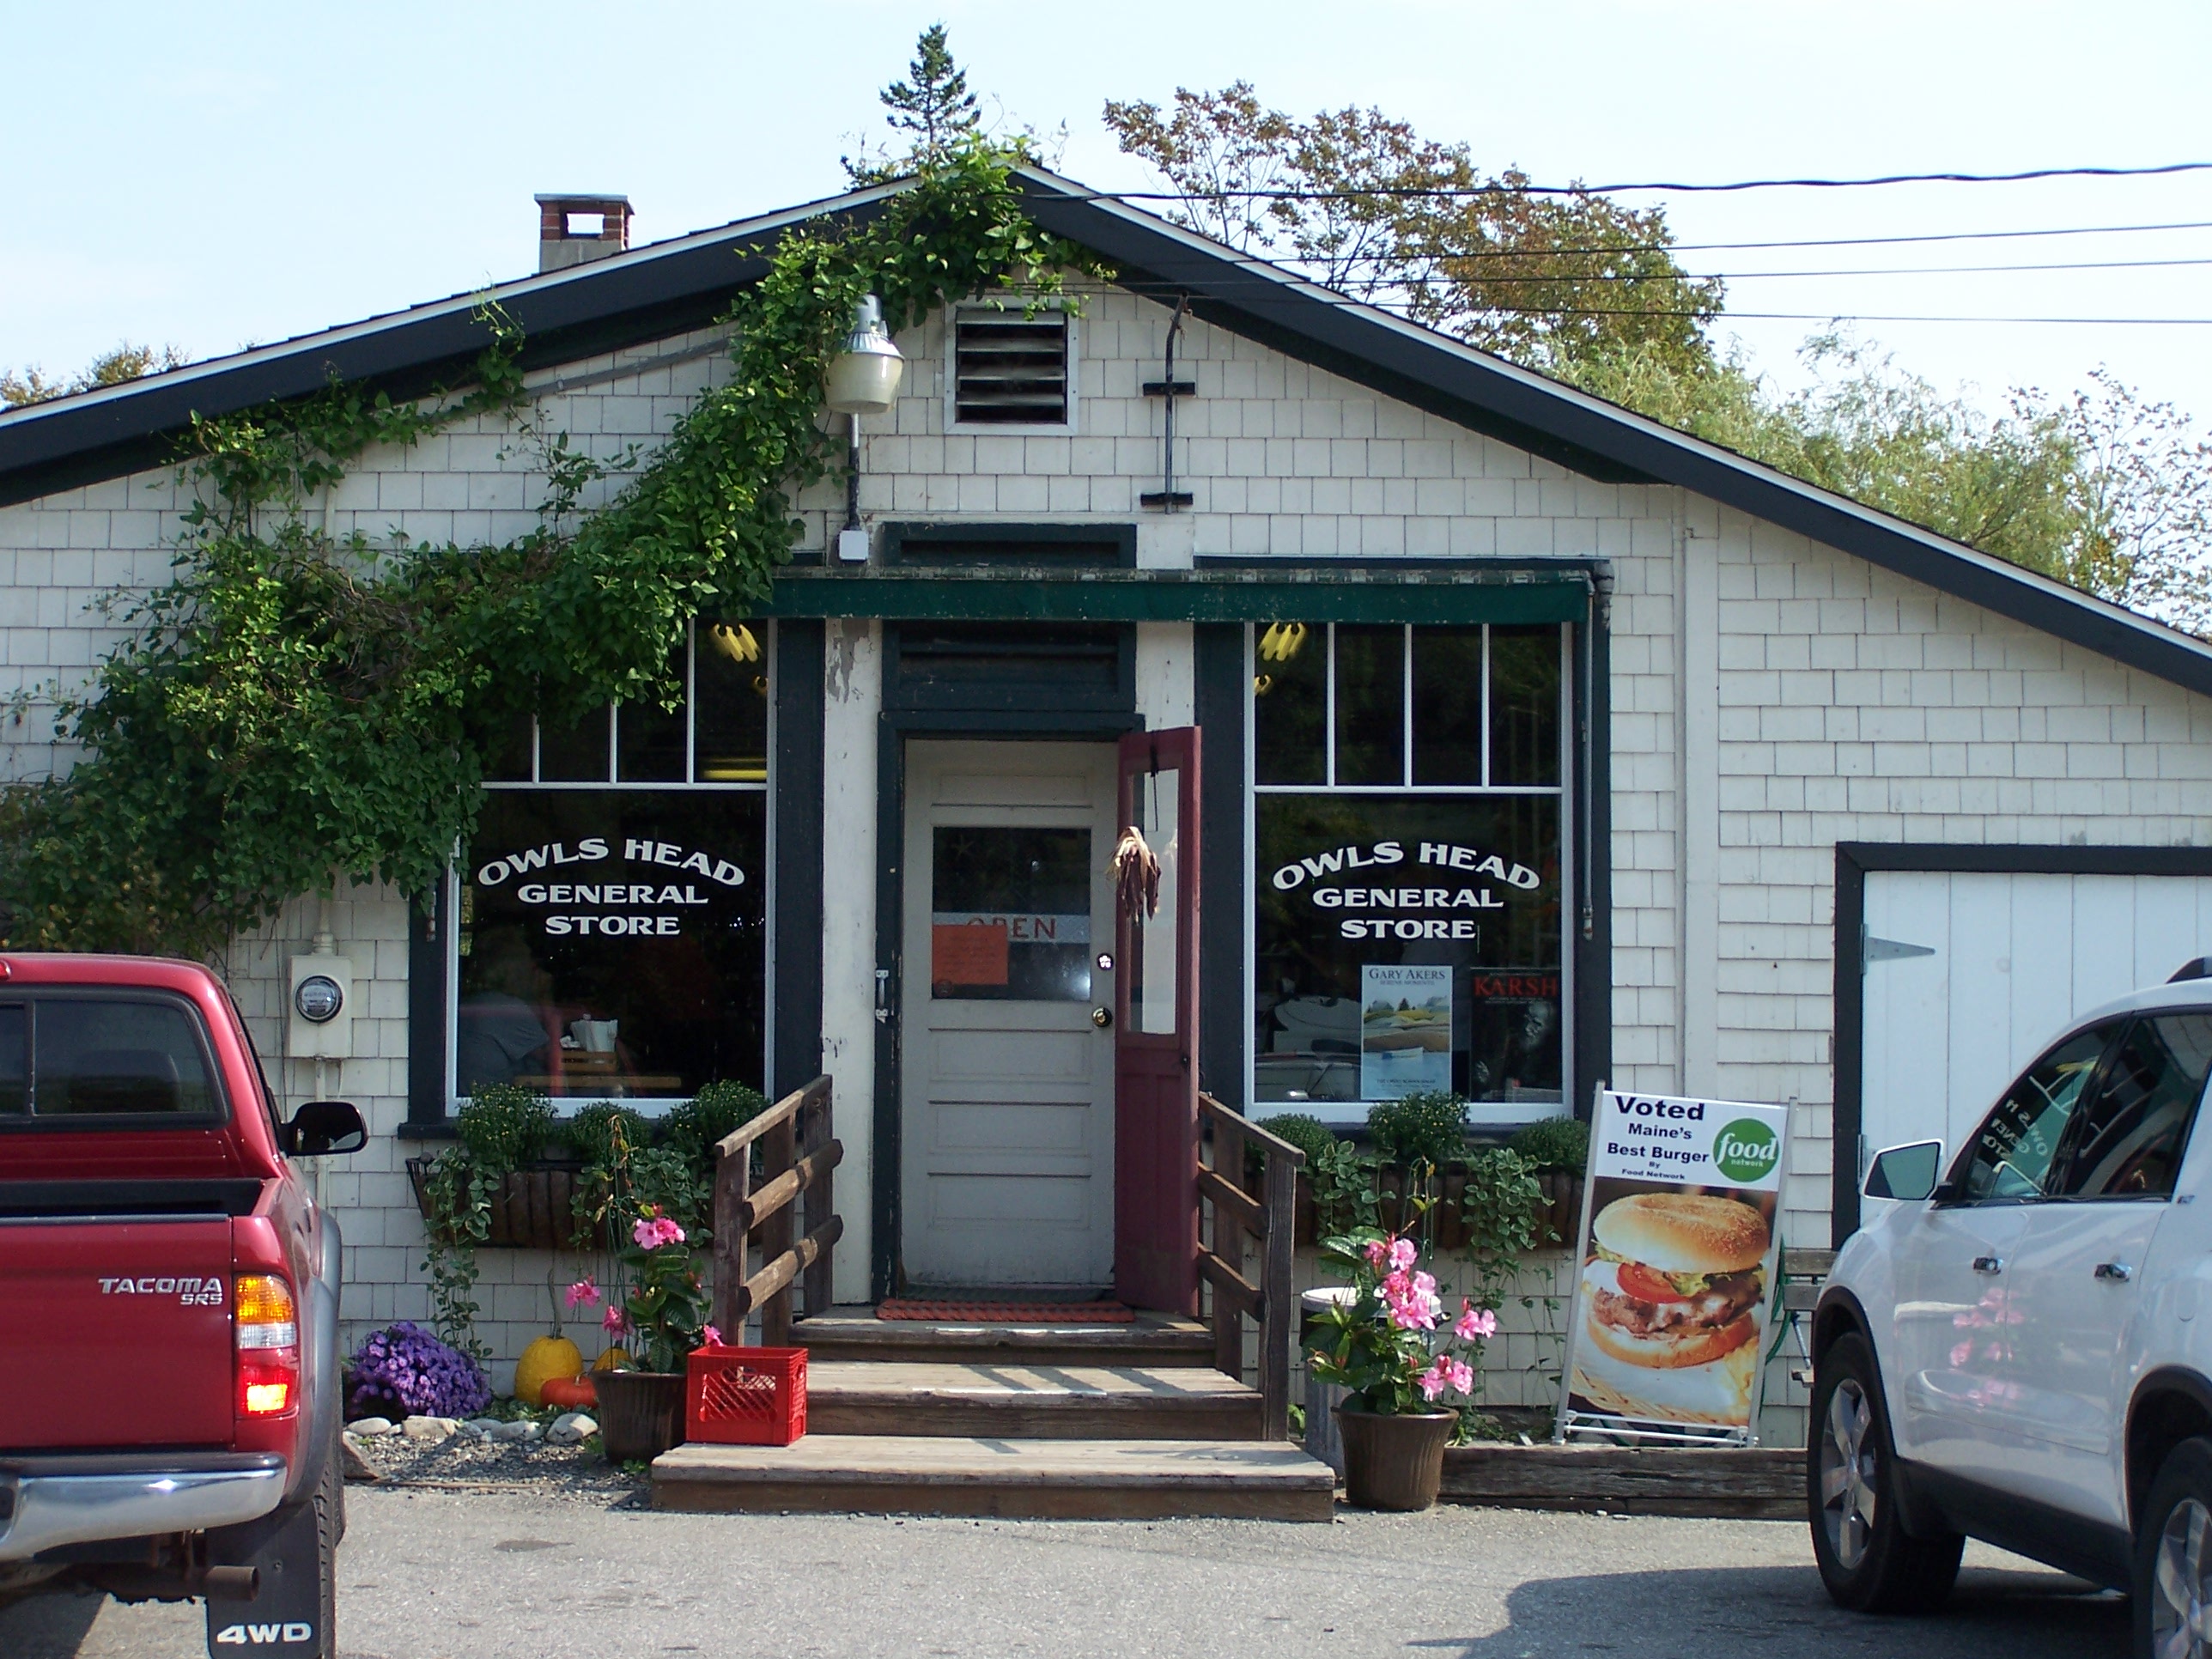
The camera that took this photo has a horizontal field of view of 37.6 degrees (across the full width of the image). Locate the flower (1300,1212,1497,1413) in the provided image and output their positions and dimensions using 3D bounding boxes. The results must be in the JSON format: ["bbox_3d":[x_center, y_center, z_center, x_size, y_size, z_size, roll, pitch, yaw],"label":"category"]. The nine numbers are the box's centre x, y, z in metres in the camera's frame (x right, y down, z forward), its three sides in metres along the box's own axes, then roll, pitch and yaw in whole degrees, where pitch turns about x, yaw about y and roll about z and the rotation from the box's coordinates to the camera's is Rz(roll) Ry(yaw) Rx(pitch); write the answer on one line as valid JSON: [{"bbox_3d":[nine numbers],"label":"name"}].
[{"bbox_3d":[1.282,2.272,14.883,0.752,0.631,0.424,2,-1,4],"label":"flower"}]

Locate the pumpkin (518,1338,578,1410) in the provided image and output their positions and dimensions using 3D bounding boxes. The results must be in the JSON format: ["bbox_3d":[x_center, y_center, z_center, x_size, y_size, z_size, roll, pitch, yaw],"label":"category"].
[{"bbox_3d":[-2.756,2.686,16.020,0.292,0.450,0.289,4,1,-20],"label":"pumpkin"}]

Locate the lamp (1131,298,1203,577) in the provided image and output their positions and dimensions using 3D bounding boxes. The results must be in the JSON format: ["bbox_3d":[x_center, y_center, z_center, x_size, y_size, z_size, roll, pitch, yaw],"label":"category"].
[{"bbox_3d":[0.292,-2.009,16.699,0.301,1.333,0.315,-1,1,-25],"label":"lamp"}]

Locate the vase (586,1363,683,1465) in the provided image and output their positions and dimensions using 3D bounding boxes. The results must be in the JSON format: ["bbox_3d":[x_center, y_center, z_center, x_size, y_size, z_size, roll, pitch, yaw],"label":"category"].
[{"bbox_3d":[-2.150,2.699,14.916,0.380,0.326,0.402,-2,-12,17],"label":"vase"}]

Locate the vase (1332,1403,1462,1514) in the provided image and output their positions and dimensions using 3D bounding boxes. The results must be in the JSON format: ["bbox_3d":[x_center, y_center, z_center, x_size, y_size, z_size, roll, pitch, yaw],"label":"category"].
[{"bbox_3d":[1.286,2.866,14.690,0.415,0.329,0.440,2,-5,6],"label":"vase"}]
